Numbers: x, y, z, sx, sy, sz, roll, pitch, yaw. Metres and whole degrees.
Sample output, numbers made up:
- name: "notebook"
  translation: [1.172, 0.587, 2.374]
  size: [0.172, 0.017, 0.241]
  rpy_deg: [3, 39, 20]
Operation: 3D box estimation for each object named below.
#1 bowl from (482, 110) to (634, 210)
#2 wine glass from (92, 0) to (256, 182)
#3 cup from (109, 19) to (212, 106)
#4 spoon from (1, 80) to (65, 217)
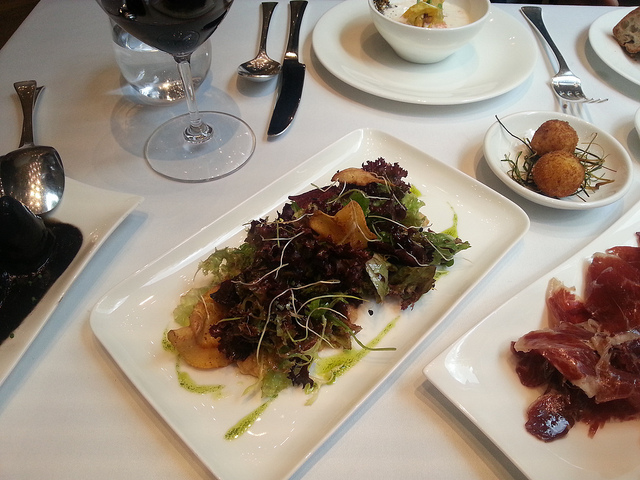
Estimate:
- name: "bowl"
  translation: [0.737, -0.244, 1.458]
  size: [0.345, 0.093, 0.368]
  rpy_deg: [-2, 58, 4]
- name: "wine glass"
  translation: [-0.460, -0.433, 1.524]
  size: [0.378, 0.462, 0.384]
  rpy_deg: [-28, 57, -22]
- name: "cup"
  translation: [-0.498, -0.562, 1.648]
  size: [0.265, 0.275, 0.271]
  rpy_deg: [3, 56, -4]
- name: "spoon"
  translation: [-0.869, -0.299, 1.518]
  size: [0.168, 0.063, 0.584]
  rpy_deg: [-10, 58, -15]
